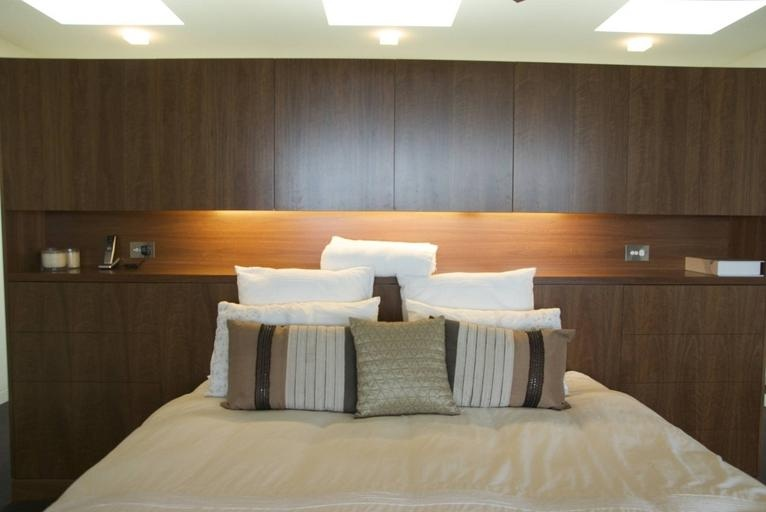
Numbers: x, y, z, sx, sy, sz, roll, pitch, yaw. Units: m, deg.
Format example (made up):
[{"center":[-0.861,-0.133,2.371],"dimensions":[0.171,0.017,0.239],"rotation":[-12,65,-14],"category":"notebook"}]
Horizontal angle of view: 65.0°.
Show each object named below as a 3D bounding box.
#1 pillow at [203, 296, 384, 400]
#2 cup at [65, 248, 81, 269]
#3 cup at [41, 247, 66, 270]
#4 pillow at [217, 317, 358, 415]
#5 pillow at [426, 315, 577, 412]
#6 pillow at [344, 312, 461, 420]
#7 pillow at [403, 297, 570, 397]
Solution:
[{"center":[-0.505,0.672,3.720],"dimensions":[1.039,0.562,0.207],"rotation":[4,-10,-14],"category":"pillow"},{"center":[-2.212,0.022,4.288],"dimensions":[0.135,0.134,0.130],"rotation":[0,-1,0],"category":"cup"},{"center":[-2.283,0.023,4.175],"dimensions":[0.154,0.125,0.146],"rotation":[2,1,0],"category":"cup"},{"center":[-0.489,0.649,3.524],"dimensions":[0.928,0.505,0.221],"rotation":[0,-7,13],"category":"pillow"},{"center":[0.688,0.642,3.548],"dimensions":[0.855,0.481,0.217],"rotation":[7,-10,-13],"category":"pillow"},{"center":[0.094,0.639,3.474],"dimensions":[0.770,0.654,0.211],"rotation":[-8,-11,-33],"category":"pillow"},{"center":[0.648,0.630,3.560],"dimensions":[0.897,0.516,0.237],"rotation":[6,-11,-1],"category":"pillow"}]
